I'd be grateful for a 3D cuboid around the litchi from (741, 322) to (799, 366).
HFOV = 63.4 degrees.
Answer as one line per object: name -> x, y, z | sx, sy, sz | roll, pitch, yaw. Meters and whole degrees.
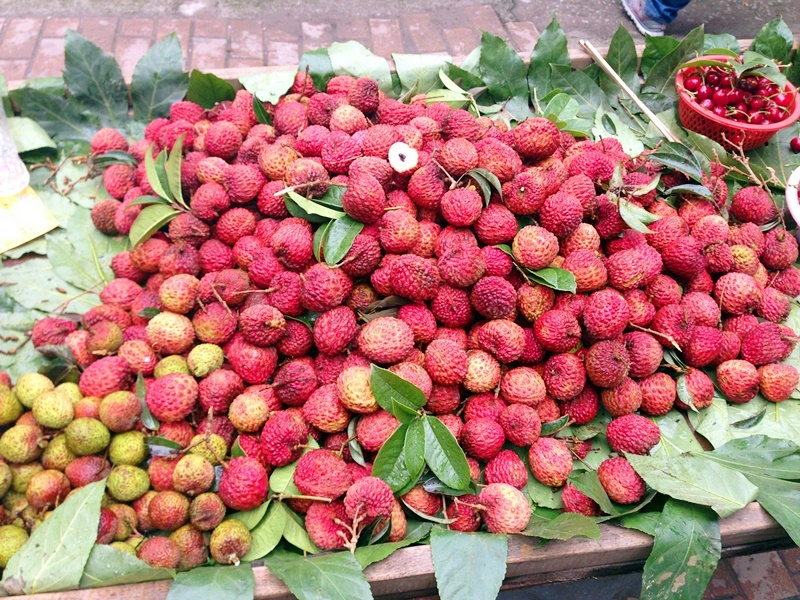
litchi -> 1.855, 0.226, 3.269 | 0.194, 0.235, 0.209 | -1, 78, -51
